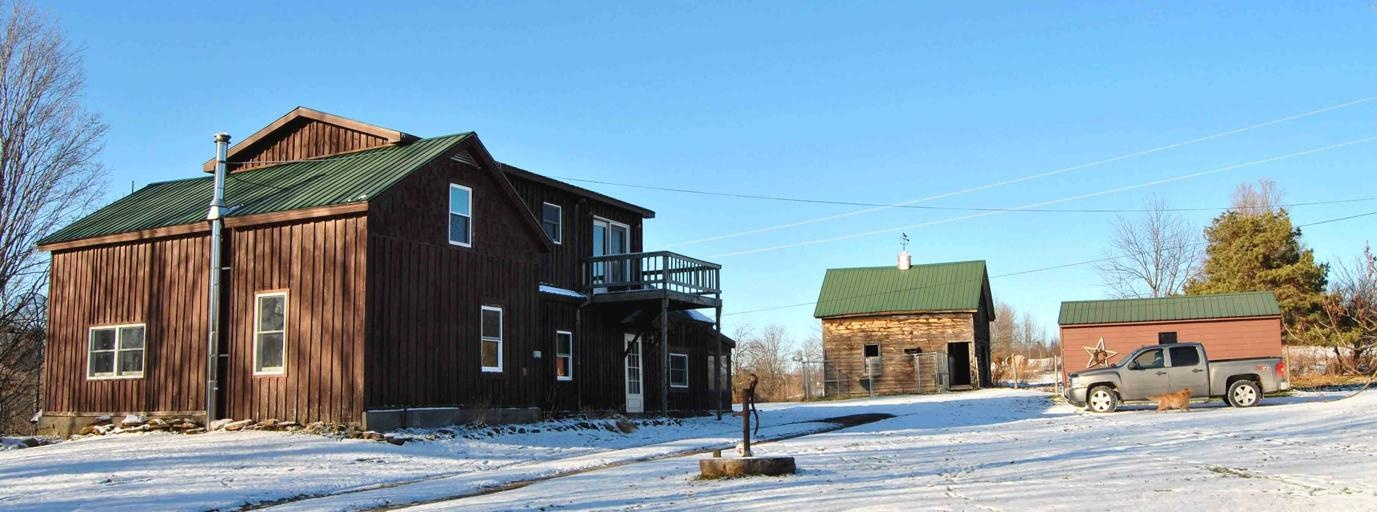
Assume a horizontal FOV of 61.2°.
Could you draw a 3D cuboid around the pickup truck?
[{"bbox_3d":[28.963,7.467,71.825,12.695,3.066,4.711,0,-6,6],"label":"pickup truck"}]
